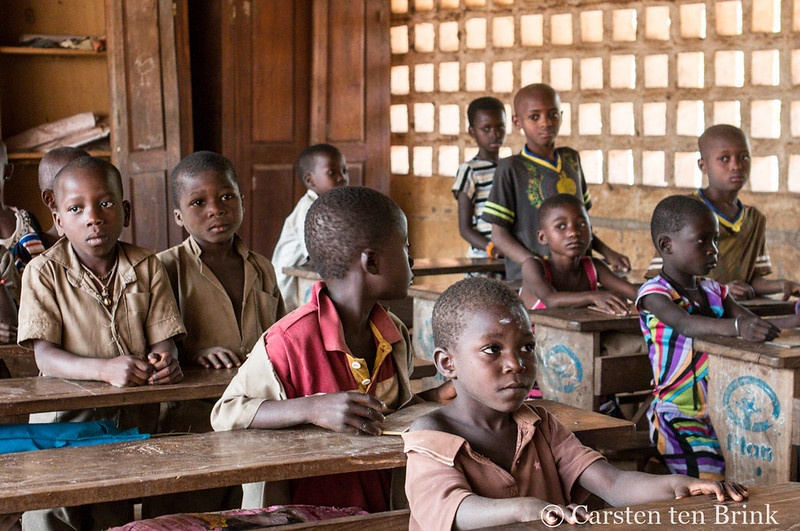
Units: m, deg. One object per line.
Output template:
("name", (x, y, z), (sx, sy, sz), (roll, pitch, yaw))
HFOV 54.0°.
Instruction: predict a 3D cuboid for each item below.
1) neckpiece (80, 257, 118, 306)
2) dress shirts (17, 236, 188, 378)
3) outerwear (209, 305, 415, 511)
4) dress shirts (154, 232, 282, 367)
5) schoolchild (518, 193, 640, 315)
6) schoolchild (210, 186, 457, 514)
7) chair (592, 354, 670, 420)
("neckpiece", (-1.071, 0.059, 2.828), (0.094, 0.158, 0.047), (-12, -15, -20))
("dress shirts", (-1.083, 0.131, 2.899), (0.547, 0.497, 0.293), (-6, 13, -13))
("outerwear", (-0.247, 0.438, 2.331), (0.683, 0.658, 0.381), (-4, 17, -44))
("dress shirts", (-0.720, 0.131, 3.187), (0.595, 0.467, 0.285), (-1, -10, -35))
("schoolchild", (0.849, -0.056, 3.946), (0.515, 0.627, 0.919), (-6, 5, -11))
("schoolchild", (-0.277, 0.338, 2.986), (0.954, 1.336, 0.956), (-5, -5, 20))
("chair", (0.986, 0.513, 3.376), (0.254, 0.274, 0.357), (-3, 3, -16))
